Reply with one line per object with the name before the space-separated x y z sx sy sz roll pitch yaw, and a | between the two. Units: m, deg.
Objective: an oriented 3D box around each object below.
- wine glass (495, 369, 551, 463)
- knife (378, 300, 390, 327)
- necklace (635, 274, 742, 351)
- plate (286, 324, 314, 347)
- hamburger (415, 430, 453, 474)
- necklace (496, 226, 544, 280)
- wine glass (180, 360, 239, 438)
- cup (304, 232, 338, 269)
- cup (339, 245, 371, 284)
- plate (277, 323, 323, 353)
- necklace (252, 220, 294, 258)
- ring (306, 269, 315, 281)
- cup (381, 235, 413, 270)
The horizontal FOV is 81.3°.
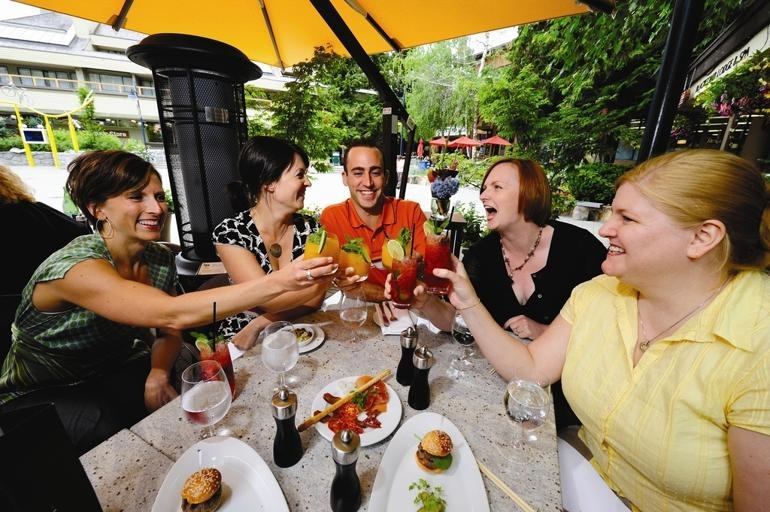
wine glass | 0.777 0.931 2.732 0.361 0.560 0.403 2 2 25
knife | -0.012 0.426 3.251 0.090 0.032 0.302 -3 19 -4
necklace | 1.722 0.379 2.659 0.117 0.436 0.436 21 32 7
plate | -0.560 0.531 3.034 0.144 0.042 0.143 9 16 21
hamburger | 0.268 1.064 2.513 0.212 0.124 0.205 -2 27 -4
necklace | 1.132 0.000 3.768 0.107 0.441 0.321 -15 34 -31
wine glass | -1.025 0.758 2.532 0.241 0.291 0.247 -10 23 -34
cup | -0.416 -0.029 2.950 0.208 0.192 0.204 4 4 0
cup | -0.211 0.060 3.064 0.221 0.209 0.217 0 3 0
plate | -0.537 0.551 3.035 0.200 0.040 0.197 7 23 14
necklace | -0.937 -0.130 3.661 0.042 0.359 0.317 -18 -9 39
ring | -0.477 0.125 2.827 0.033 0.054 0.043 -30 7 12
cup | 0.072 0.019 3.116 0.202 0.220 0.141 13 42 23
